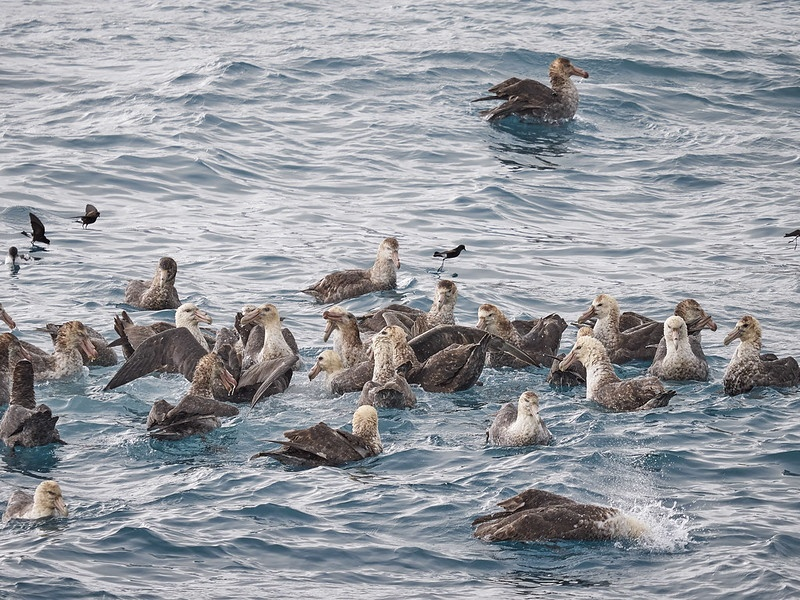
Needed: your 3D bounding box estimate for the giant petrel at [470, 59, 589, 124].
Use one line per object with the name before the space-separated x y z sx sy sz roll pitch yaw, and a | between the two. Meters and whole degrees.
giant petrel | 4.179 -6.928 38.636 4.477 2.278 2.203 -5 31 -20
